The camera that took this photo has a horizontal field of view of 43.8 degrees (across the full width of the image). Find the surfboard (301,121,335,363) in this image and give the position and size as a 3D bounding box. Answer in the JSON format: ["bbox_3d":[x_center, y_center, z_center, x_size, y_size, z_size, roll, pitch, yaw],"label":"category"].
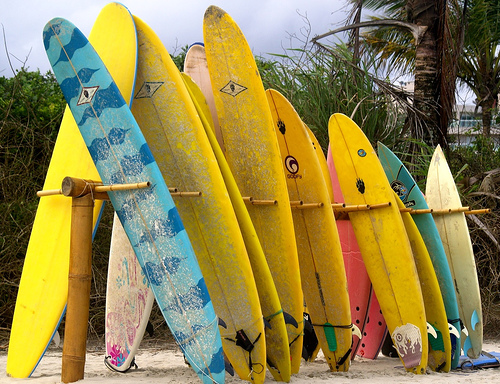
[{"bbox_3d":[0.628,0.455,6.116,0.350,2.388,0.221,-4,-1,28],"label":"surfboard"}]

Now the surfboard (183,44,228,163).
[{"bbox_3d":[-0.450,-1.031,6.059,0.249,1.634,0.208,-11,-15,15],"label":"surfboard"}]

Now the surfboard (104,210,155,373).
[{"bbox_3d":[-1.135,0.800,5.853,0.395,1.898,0.244,8,-34,-8],"label":"surfboard"}]

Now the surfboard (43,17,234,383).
[{"bbox_3d":[-0.920,0.094,5.193,0.425,3.123,0.302,-17,-2,15],"label":"surfboard"}]

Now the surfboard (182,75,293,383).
[{"bbox_3d":[-0.117,0.402,5.220,0.279,2.624,0.246,-16,-5,34],"label":"surfboard"}]

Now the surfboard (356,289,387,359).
[{"bbox_3d":[1.184,1.410,6.312,0.256,0.184,1.114,14,-46,24],"label":"surfboard"}]

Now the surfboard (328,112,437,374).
[{"bbox_3d":[1.237,0.466,5.795,0.465,2.830,0.306,-6,32,34],"label":"surfboard"}]

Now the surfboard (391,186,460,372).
[{"bbox_3d":[1.664,0.968,5.790,0.353,2.458,0.229,-8,0,12],"label":"surfboard"}]

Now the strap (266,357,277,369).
[{"bbox_3d":[0.181,1.469,5.374,0.033,0.154,0.029,-37,-12,37],"label":"strap"}]

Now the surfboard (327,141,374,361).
[{"bbox_3d":[1.040,0.479,6.116,0.360,0.227,2.291,-2,-52,9],"label":"surfboard"}]

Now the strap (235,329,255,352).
[{"bbox_3d":[-0.042,1.251,5.172,0.105,0.206,0.049,-36,-9,23],"label":"strap"}]
